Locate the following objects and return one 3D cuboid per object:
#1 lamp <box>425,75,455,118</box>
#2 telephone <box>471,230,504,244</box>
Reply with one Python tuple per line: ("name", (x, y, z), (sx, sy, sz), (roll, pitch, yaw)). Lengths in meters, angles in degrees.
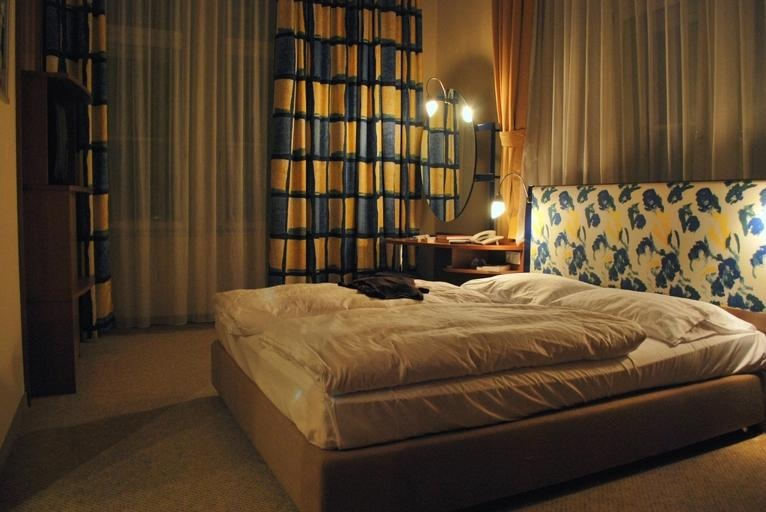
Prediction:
("lamp", (0.564, -1.549, 5.938), (0.275, 0.483, 0.134), (1, -16, -3))
("telephone", (0.917, -0.163, 5.289), (0.197, 0.064, 0.148), (0, 6, -28))
